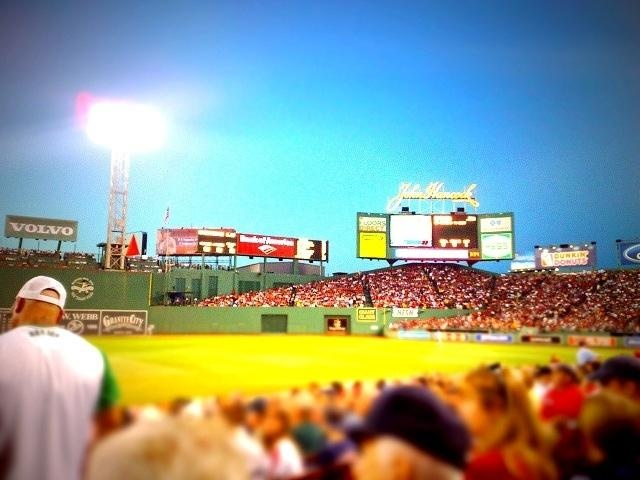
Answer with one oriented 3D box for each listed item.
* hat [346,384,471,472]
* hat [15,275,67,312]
[{"bbox_3d":[1.289,2.450,6.514,1.335,0.463,1.016,23,19,-3],"label":"hat"},{"bbox_3d":[-2.862,0.566,5.001,0.442,0.240,0.330,0,-14,41],"label":"hat"}]
